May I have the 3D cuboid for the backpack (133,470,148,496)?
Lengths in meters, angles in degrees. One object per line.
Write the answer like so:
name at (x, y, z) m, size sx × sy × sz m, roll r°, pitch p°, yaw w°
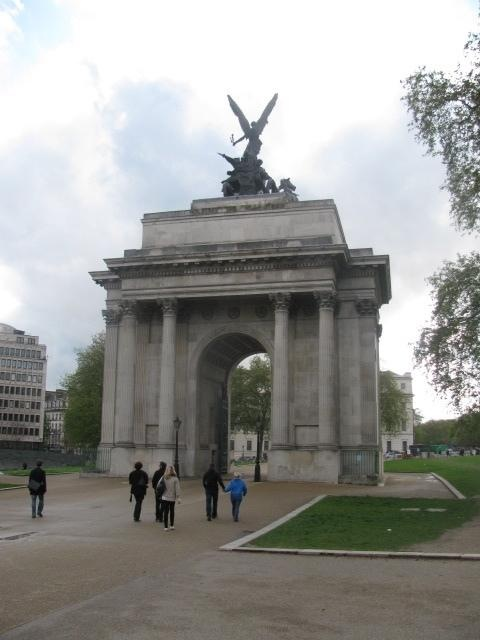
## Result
backpack at (-2.956, 4.839, 18.458) m, size 0.406 × 0.740 × 0.504 m, roll 1°, pitch -10°, yaw -2°

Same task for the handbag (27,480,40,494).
handbag at (-6.566, 5.354, 19.976) m, size 0.409 × 0.487 × 0.471 m, roll 4°, pitch -11°, yaw -19°

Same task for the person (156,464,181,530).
person at (-1.938, 4.793, 16.828) m, size 0.566 × 1.675 × 0.488 m, roll -3°, pitch -14°, yaw 7°
